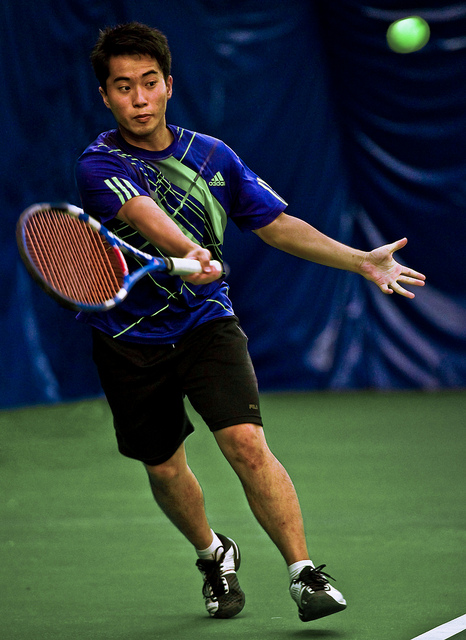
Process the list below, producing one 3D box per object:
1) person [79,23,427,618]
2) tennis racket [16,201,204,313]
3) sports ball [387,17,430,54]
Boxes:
[{"bbox_3d":[0.025,0.007,1.697,0.791,1.119,0.735,-3,1,-11],"label":"person"},{"bbox_3d":[-0.348,-0.144,1.435,0.272,0.207,0.375,-2,1,40],"label":"tennis racket"},{"bbox_3d":[1.823,-2.949,6.726,0.422,0.346,0.230,-15,-2,10],"label":"sports ball"}]
